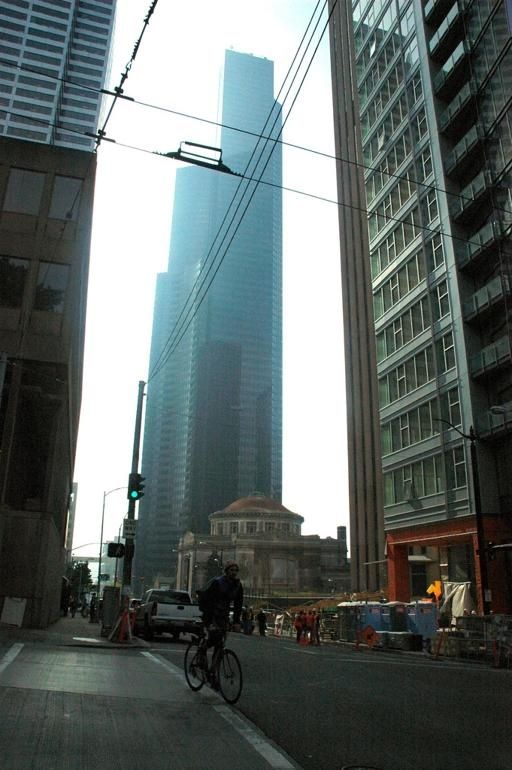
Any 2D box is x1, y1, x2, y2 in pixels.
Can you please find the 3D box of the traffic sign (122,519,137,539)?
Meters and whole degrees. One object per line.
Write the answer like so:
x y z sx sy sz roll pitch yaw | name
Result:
-3.721 4.246 17.499 0.345 0.634 0.697 5 -17 -10 | traffic sign

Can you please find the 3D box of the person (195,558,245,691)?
-0.401 2.674 6.664 0.470 1.308 0.888 2 -17 -2 | person
